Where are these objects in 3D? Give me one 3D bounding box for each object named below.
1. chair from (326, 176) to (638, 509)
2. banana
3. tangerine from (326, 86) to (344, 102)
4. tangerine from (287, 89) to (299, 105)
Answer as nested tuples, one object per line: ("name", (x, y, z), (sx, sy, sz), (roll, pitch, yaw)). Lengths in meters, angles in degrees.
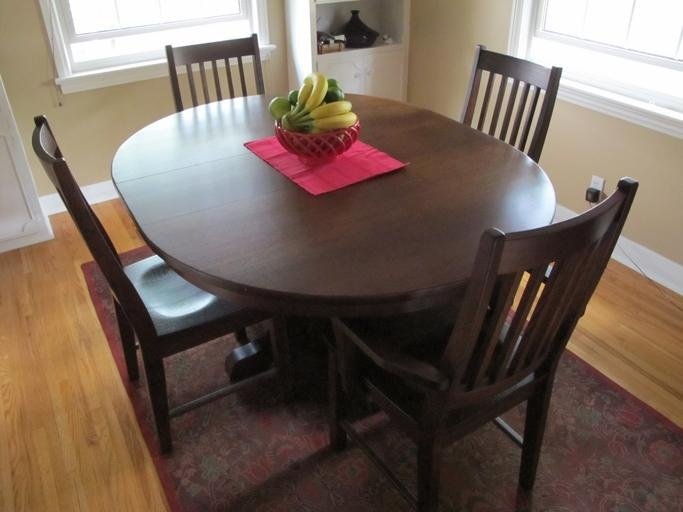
("chair", (0.438, 0.337, 1.711), (0.606, 1.173, 0.642), (-20, 44, -20))
("banana", (-0.090, -0.568, 1.948), (0.218, 0.106, 0.250), (11, 77, 2))
("tangerine", (-0.026, -0.643, 1.974), (0.057, 0.078, 0.062), (-3, 34, -2))
("tangerine", (-0.189, -0.645, 2.034), (0.045, 0.063, 0.054), (0, 36, 0))
